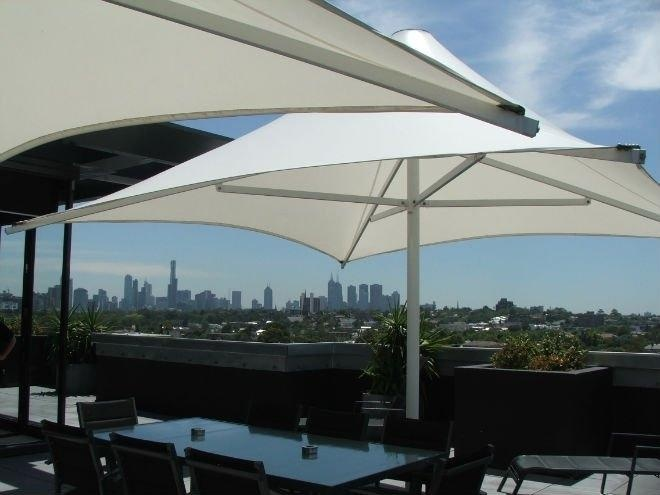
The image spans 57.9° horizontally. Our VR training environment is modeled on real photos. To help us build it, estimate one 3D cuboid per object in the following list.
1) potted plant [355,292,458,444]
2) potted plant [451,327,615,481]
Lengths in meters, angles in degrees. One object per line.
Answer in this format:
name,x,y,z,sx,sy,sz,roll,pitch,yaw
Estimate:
potted plant,0.598,1.452,7.736,1.575,1.856,1.560,-1,-2,33
potted plant,2.304,1.686,7.088,1.779,1.731,1.637,0,-3,-3
